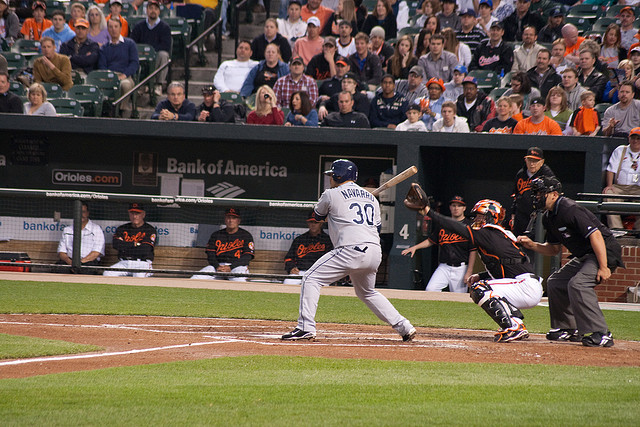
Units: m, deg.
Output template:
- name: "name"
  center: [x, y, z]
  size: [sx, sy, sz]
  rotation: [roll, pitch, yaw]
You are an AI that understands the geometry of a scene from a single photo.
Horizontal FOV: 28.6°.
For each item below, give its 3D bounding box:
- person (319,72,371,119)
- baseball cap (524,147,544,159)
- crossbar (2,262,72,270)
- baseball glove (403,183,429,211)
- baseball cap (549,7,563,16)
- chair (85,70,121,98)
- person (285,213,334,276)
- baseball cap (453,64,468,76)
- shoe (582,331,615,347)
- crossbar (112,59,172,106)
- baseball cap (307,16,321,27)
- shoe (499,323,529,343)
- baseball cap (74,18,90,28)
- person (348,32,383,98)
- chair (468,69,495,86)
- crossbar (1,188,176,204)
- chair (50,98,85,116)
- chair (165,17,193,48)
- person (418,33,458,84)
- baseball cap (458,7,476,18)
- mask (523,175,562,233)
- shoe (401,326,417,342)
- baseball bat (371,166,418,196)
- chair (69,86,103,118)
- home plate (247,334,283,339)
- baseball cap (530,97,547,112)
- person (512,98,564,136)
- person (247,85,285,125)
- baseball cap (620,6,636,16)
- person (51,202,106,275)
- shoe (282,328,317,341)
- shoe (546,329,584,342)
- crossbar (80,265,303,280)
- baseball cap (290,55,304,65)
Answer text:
- name: "person"
  center: [0.484, -2.277, 24.586]
  size: [1.030, 0.821, 0.570]
  rotation: [5, 2, 18]
- name: "baseball cap"
  center: [3.786, -1.063, 22.145]
  size: [0.265, 0.190, 0.183]
  rotation: [2, 3, 4]
- name: "crossbar"
  center: [-5.300, 0.969, 23.477]
  size: [1.350, 0.112, 0.414]
  rotation: [2, 2, -3]
- name: "baseball glove"
  center: [1.483, -0.263, 19.658]
  size: [0.386, 0.271, 0.676]
  rotation: [9, 6, 15]
- name: "baseball cap"
  center: [5.002, -4.251, 26.483]
  size: [0.306, 0.143, 0.220]
  rotation: [-2, 0, -19]
- name: "chair"
  center: [-4.363, -2.657, 25.579]
  size: [0.636, 0.660, 0.561]
  rotation: [2, 17, 2]
- name: "person"
  center: [-0.205, 0.599, 23.723]
  size: [0.883, 1.100, 0.358]
  rotation: [16, -6, -1]
- name: "baseball cap"
  center: [2.753, -2.842, 24.718]
  size: [0.269, 0.206, 0.370]
  rotation: [2, 3, 0]
- name: "shoe"
  center: [4.299, 1.938, 19.413]
  size: [0.457, 0.223, 0.201]
  rotation: [1, 3, 0]
- name: "crossbar"
  center: [-3.628, -2.678, 25.621]
  size: [0.477, 1.034, 1.521]
  rotation: [4, 3, 29]
- name: "baseball cap"
  center: [-0.133, -4.028, 26.287]
  size: [0.226, 0.179, 0.347]
  rotation: [1, -3, 15]
- name: "shoe"
  center: [3.016, 1.869, 19.517]
  size: [0.535, 0.230, 0.190]
  rotation: [-7, -3, -3]
- name: "baseball cap"
  center: [-4.990, -3.982, 26.274]
  size: [0.371, 0.179, 0.571]
  rotation: [0, 6, -11]
- name: "person"
  center: [0.821, -2.975, 25.379]
  size: [0.853, 1.266, 0.999]
  rotation: [4, 11, 31]
- name: "chair"
  center: [3.287, -2.758, 25.301]
  size: [0.514, 0.554, 0.473]
  rotation: [0, 6, 8]
- name: "crossbar"
  center: [-4.313, -0.321, 23.425]
  size: [3.258, 0.158, 0.446]
  rotation: [2, 3, 5]
- name: "chair"
  center: [-5.010, -2.106, 24.771]
  size: [0.427, 0.509, 0.381]
  rotation: [-1, 9, -7]
- name: "chair"
  center: [-3.106, -3.948, 27.355]
  size: [0.395, 0.481, 0.372]
  rotation: [-2, 18, -25]
- name: "person"
  center: [2.313, -2.995, 25.034]
  size: [0.840, 1.116, 0.868]
  rotation: [1, 10, 25]
- name: "baseball cap"
  center: [3.115, -4.207, 26.140]
  size: [0.219, 0.158, 0.304]
  rotation: [-6, -6, 39]
- name: "mask"
  center: [3.582, -0.166, 19.828]
  size: [0.428, 1.026, 0.742]
  rotation: [-1, 4, -41]
- name: "shoe"
  center: [1.369, 1.856, 19.399]
  size: [0.187, 0.231, 0.192]
  rotation: [3, 3, 6]
- name: "baseball bat"
  center: [1.370, -0.589, 22.838]
  size: [0.147, 0.153, 1.344]
  rotation: [35, -43, -21]
- name: "chair"
  center: [-4.603, -2.241, 25.356]
  size: [0.641, 0.786, 0.618]
  rotation: [0, 4, -3]
- name: "home plate"
  center: [-0.827, 1.889, 19.504]
  size: [0.577, 0.021, 0.284]
  rotation: [3, 3, 20]
- name: "baseball cap"
  center: [4.086, -2.059, 23.581]
  size: [0.201, 0.206, 0.274]
  rotation: [11, 25, 40]
- name: "person"
  center: [4.110, -1.824, 23.630]
  size: [1.115, 0.736, 0.479]
  rotation: [5, 5, 41]
- name: "person"
  center: [-1.043, -2.082, 24.216]
  size: [0.691, 0.721, 0.447]
  rotation: [2, 3, -6]
- name: "baseball cap"
  center: [6.271, -4.137, 25.563]
  size: [0.192, 0.220, 0.377]
  rotation: [22, 7, 29]
- name: "person"
  center: [-4.480, 0.462, 23.539]
  size: [0.987, 1.327, 0.603]
  rotation: [3, 3, 4]
- name: "shoe"
  center: [-0.322, 1.848, 19.271]
  size: [0.525, 0.255, 0.184]
  rotation: [5, -5, -7]
- name: "shoe"
  center: [3.847, 1.904, 19.779]
  size: [0.625, 0.256, 0.207]
  rotation: [-1, -4, 4]
- name: "crossbar"
  center: [-2.348, 1.081, 23.394]
  size: [4.091, 0.140, 0.117]
  rotation: [2, 7, 2]
- name: "baseball cap"
  center: [-0.479, -3.054, 24.794]
  size: [0.225, 0.190, 0.361]
  rotation: [0, 3, 0]
